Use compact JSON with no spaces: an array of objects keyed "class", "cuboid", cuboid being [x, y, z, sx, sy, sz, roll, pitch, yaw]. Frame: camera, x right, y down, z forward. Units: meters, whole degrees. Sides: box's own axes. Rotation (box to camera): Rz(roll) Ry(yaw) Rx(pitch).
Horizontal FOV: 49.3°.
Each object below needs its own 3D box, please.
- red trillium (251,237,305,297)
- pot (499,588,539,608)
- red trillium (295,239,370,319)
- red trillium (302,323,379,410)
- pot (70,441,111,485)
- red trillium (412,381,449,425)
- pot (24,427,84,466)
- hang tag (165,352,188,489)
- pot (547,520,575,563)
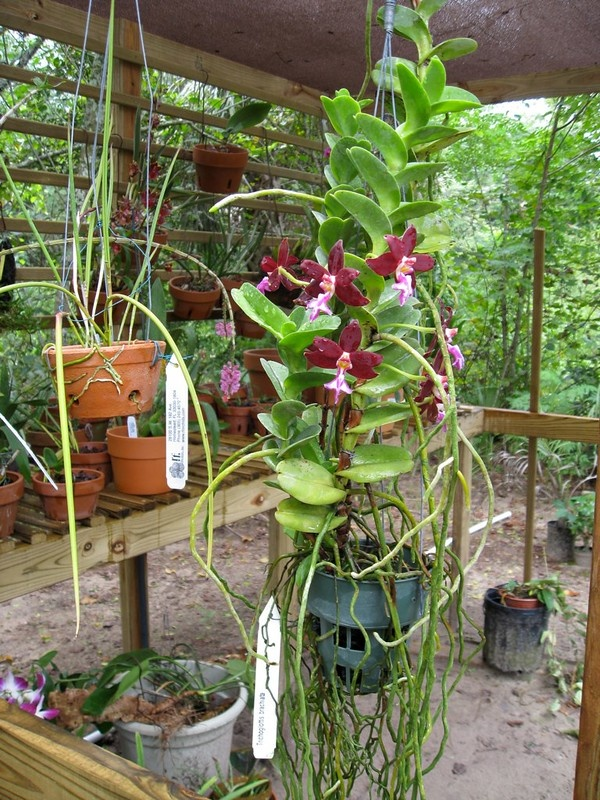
[{"class":"red trillium","cuboid":[-0.024,-0.150,0.735,0.040,0.055,0.070,-29,8,-13]},{"class":"pot","cuboid":[0.932,0.874,2.838,0.181,0.042,0.113,6,9,34]},{"class":"red trillium","cuboid":[0.025,-0.109,0.614,0.053,0.071,0.082,-2,8,-22]},{"class":"red trillium","cuboid":[0.039,-0.033,0.593,0.062,0.074,0.042,7,10,39]},{"class":"pot","cuboid":[-0.499,0.147,1.559,0.110,0.074,0.104,1,3,0]},{"class":"red trillium","cuboid":[0.159,0.008,0.778,0.020,0.043,0.062,11,-10,33]},{"class":"pot","cuboid":[-0.625,0.119,1.650,0.101,0.055,0.095,0,-1,0]},{"class":"hang tag","cuboid":[-0.164,0.031,0.855,0.003,0.186,0.043,-7,-9,36]},{"class":"pot","cuboid":[1.652,0.908,4.164,0.167,0.259,0.106,4,9,20]}]
